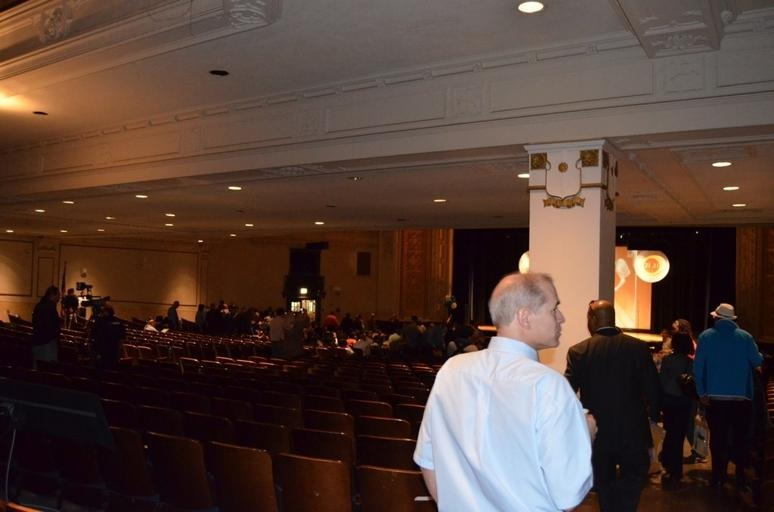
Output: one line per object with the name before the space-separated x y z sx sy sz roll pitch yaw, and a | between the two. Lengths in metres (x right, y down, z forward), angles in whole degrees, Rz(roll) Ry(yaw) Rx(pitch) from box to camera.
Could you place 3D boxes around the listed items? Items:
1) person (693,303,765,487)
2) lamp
person | 4.036 1.723 6.849 0.720 1.966 0.434 0 -2 17
lamp | 4.121 0.130 10.840 2.113 0.802 1.401 4 15 32
